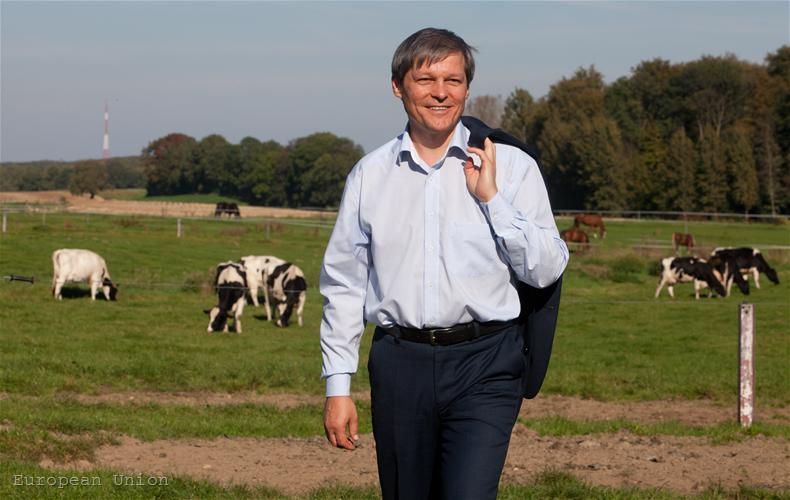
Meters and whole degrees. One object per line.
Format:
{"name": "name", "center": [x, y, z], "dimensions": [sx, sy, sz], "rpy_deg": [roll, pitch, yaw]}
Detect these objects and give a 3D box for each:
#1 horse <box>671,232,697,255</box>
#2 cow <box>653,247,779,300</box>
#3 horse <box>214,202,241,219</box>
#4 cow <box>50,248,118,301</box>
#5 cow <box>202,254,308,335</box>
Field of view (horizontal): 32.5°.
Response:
{"name": "horse", "center": [8.878, -0.298, 41.911], "dimensions": [0.308, 0.714, 1.119], "rpy_deg": [-1, 0, -9]}
{"name": "cow", "center": [9.480, 0.659, 39.733], "dimensions": [3.282, 1.345, 0.785], "rpy_deg": [-4, 5, -3]}
{"name": "horse", "center": [-4.931, -1.176, 39.891], "dimensions": [0.762, 0.505, 0.429], "rpy_deg": [-4, 5, -8]}
{"name": "cow", "center": [-8.482, 0.606, 36.620], "dimensions": [1.921, 1.528, 0.989], "rpy_deg": [0, 1, -19]}
{"name": "cow", "center": [-3.928, 1.272, 38.479], "dimensions": [1.792, 1.910, 3.413], "rpy_deg": [1, 7, 42]}
